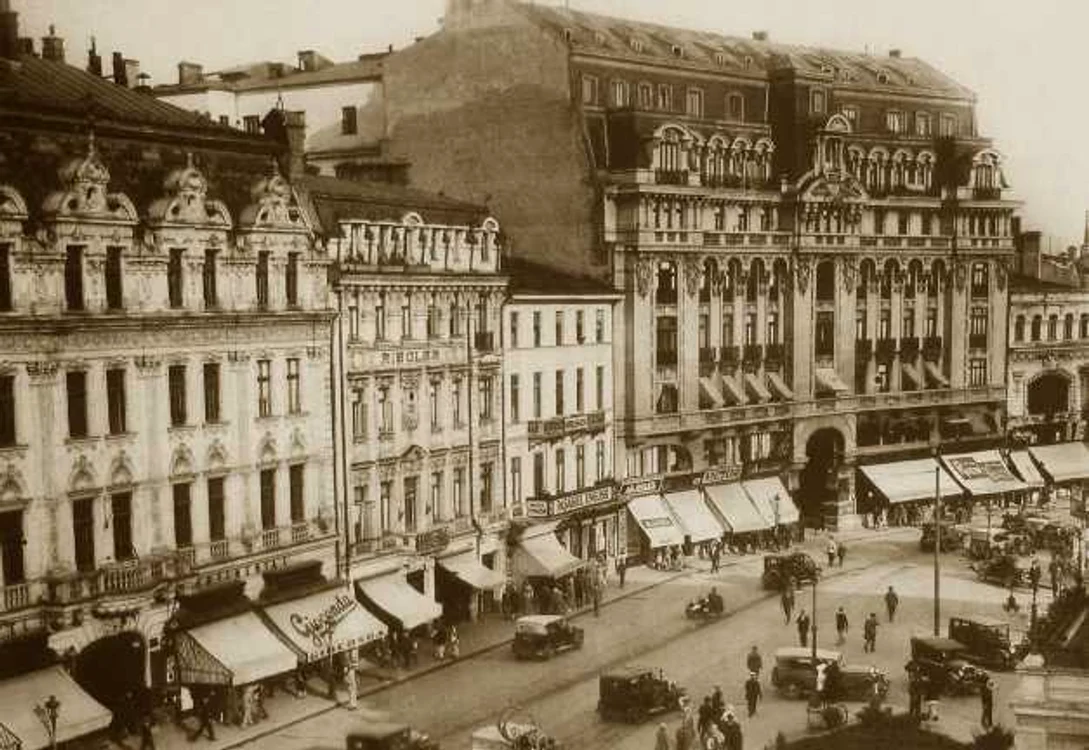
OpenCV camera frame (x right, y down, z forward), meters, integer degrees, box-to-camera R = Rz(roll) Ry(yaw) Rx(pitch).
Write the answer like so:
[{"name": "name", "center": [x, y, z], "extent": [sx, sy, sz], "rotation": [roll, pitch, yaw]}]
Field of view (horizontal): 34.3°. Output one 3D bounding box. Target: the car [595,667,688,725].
[{"name": "car", "center": [5.058, 16.359, 90.723], "extent": [2.312, 2.138, 4.271], "rotation": [2, 6, 39]}]

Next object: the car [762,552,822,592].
[{"name": "car", "center": [15.573, 12.219, 110.855], "extent": [3.170, 1.724, 2.213], "rotation": [-8, 9, -27]}]
